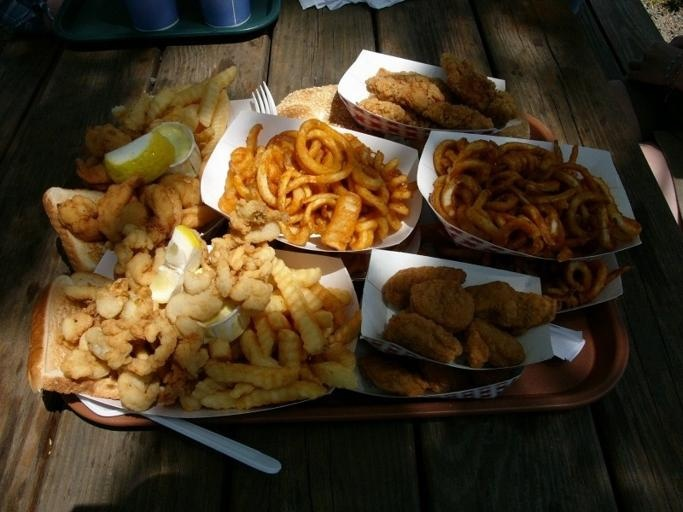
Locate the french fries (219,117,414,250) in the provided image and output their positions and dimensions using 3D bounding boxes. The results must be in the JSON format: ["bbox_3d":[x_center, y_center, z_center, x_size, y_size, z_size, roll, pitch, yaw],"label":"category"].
[{"bbox_3d":[-0.189,-0.365,2.928,1.006,0.657,0.725,-17,29,-26],"label":"french fries"}]

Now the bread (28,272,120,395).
[{"bbox_3d":[-1.172,0.361,2.340,0.291,0.200,0.569,-19,63,-4],"label":"bread"}]

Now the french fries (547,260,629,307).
[{"bbox_3d":[1.161,0.124,2.599,0.399,0.105,0.211,-16,62,-2],"label":"french fries"}]

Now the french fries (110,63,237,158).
[{"bbox_3d":[-0.821,-0.827,2.958,0.440,0.173,0.570,29,60,14],"label":"french fries"}]

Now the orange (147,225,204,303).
[{"bbox_3d":[-0.737,0.039,2.504,0.190,0.137,0.355,24,88,18],"label":"orange"}]

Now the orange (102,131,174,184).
[{"bbox_3d":[-0.952,-0.460,2.614,0.310,0.136,0.152,-31,64,-10],"label":"orange"}]

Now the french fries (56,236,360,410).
[{"bbox_3d":[-0.532,0.359,2.363,1.098,0.236,0.738,-11,74,-6],"label":"french fries"}]

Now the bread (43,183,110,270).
[{"bbox_3d":[-1.246,-0.116,2.727,0.286,0.434,0.274,20,29,26],"label":"bread"}]
